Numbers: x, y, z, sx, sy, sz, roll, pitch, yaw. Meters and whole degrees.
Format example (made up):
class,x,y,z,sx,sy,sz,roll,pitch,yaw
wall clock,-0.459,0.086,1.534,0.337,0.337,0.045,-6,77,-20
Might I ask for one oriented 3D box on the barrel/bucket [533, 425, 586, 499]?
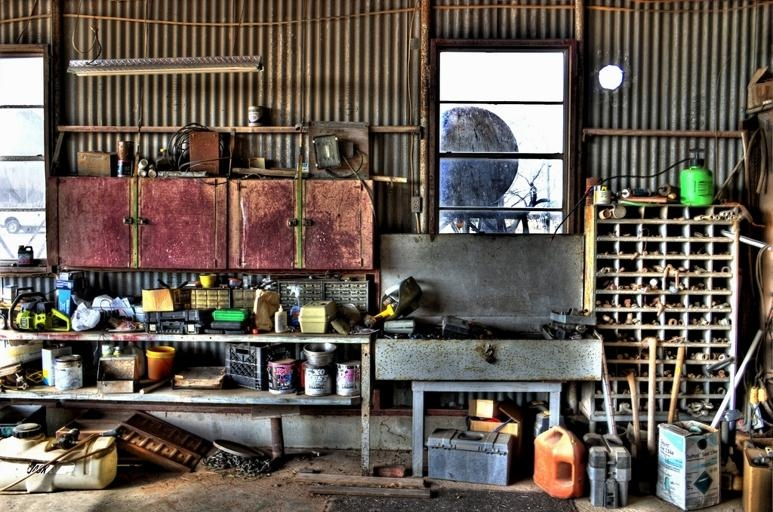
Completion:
class,x,y,z,sx,sy,sz,roll,pitch,yaw
barrel/bucket,1.641,1.998,10.997,0.481,0.667,0.207,1,3,9

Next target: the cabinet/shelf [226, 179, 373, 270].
class,x,y,z,sx,sy,sz,roll,pitch,yaw
cabinet/shelf,-0.851,-0.313,11.408,1.386,0.874,0.279,0,3,-10

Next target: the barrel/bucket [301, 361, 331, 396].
class,x,y,z,sx,sy,sz,roll,pitch,yaw
barrel/bucket,-0.662,1.237,11.214,0.290,0.305,0.292,0,-5,0

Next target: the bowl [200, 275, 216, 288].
class,x,y,z,sx,sy,sz,roll,pitch,yaw
bowl,-1.779,0.272,11.537,0.141,0.098,0.136,-1,-4,0

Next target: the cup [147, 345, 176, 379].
class,x,y,z,sx,sy,sz,roll,pitch,yaw
cup,-2.230,1.093,11.568,0.313,0.285,0.303,2,0,0

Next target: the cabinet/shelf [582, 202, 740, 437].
class,x,y,z,sx,sy,sz,roll,pitch,yaw
cabinet/shelf,2.737,0.552,11.340,1.524,2.197,0.561,4,6,0

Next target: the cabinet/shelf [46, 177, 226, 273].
class,x,y,z,sx,sy,sz,roll,pitch,yaw
cabinet/shelf,-2.443,-0.324,11.433,1.720,0.902,0.290,1,3,10

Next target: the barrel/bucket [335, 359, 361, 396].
class,x,y,z,sx,sy,sz,roll,pitch,yaw
barrel/bucket,-0.357,1.220,11.371,0.305,0.314,0.295,1,-1,0

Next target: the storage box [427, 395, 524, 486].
class,x,y,z,sx,sy,sz,roll,pitch,yaw
storage box,0.871,1.841,11.324,0.894,0.764,0.491,1,3,7

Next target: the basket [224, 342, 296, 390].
class,x,y,z,sx,sy,sz,roll,pitch,yaw
basket,-1.293,1.082,11.440,0.460,0.426,0.686,-2,21,-23

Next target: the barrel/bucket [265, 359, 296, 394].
class,x,y,z,sx,sy,sz,roll,pitch,yaw
barrel/bucket,-0.986,1.201,11.297,0.337,0.311,0.309,1,-3,0
